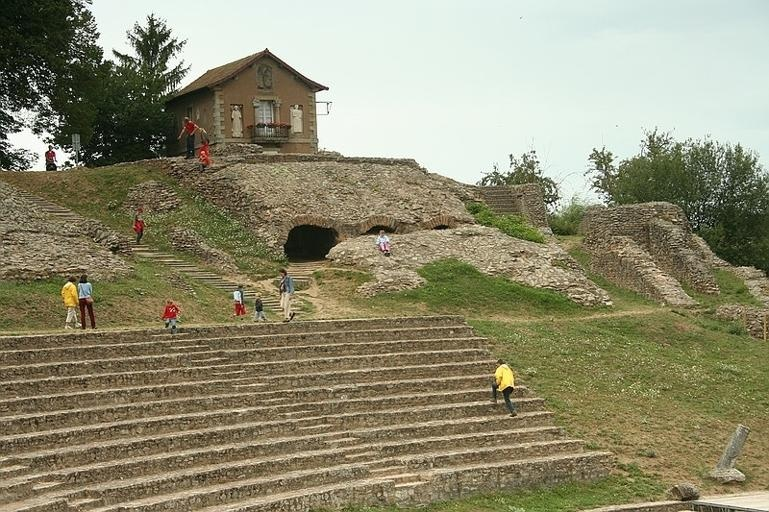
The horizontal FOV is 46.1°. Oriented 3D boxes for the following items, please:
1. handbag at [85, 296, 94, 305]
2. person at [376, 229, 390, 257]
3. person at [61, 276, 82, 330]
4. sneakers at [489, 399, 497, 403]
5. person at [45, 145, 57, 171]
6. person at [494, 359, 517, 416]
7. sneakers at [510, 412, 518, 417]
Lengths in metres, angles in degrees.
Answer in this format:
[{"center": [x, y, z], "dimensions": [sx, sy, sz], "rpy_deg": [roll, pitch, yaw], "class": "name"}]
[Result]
[{"center": [-12.277, 1.823, 38.394], "dimensions": [0.263, 0.236, 0.249], "rpy_deg": [-3, 4, -38], "class": "handbag"}, {"center": [0.011, -0.759, 50.553], "dimensions": [0.613, 1.554, 0.578], "rpy_deg": [-14, -29, -6], "class": "person"}, {"center": [-13.050, 1.934, 38.608], "dimensions": [0.643, 2.253, 1.584], "rpy_deg": [2, 0, -5], "class": "person"}, {"center": [4.449, 5.899, 37.203], "dimensions": [0.282, 0.176, 0.101], "rpy_deg": [12, 11, 38], "class": "sneakers"}, {"center": [-21.097, -6.412, 58.258], "dimensions": [0.505, 1.629, 0.804], "rpy_deg": [2, 0, -10], "class": "person"}, {"center": [4.946, 5.327, 37.333], "dimensions": [1.039, 2.166, 1.357], "rpy_deg": [2, 0, 2], "class": "person"}, {"center": [5.290, 6.401, 37.012], "dimensions": [0.379, 0.174, 0.147], "rpy_deg": [2, 0, -36], "class": "sneakers"}]
